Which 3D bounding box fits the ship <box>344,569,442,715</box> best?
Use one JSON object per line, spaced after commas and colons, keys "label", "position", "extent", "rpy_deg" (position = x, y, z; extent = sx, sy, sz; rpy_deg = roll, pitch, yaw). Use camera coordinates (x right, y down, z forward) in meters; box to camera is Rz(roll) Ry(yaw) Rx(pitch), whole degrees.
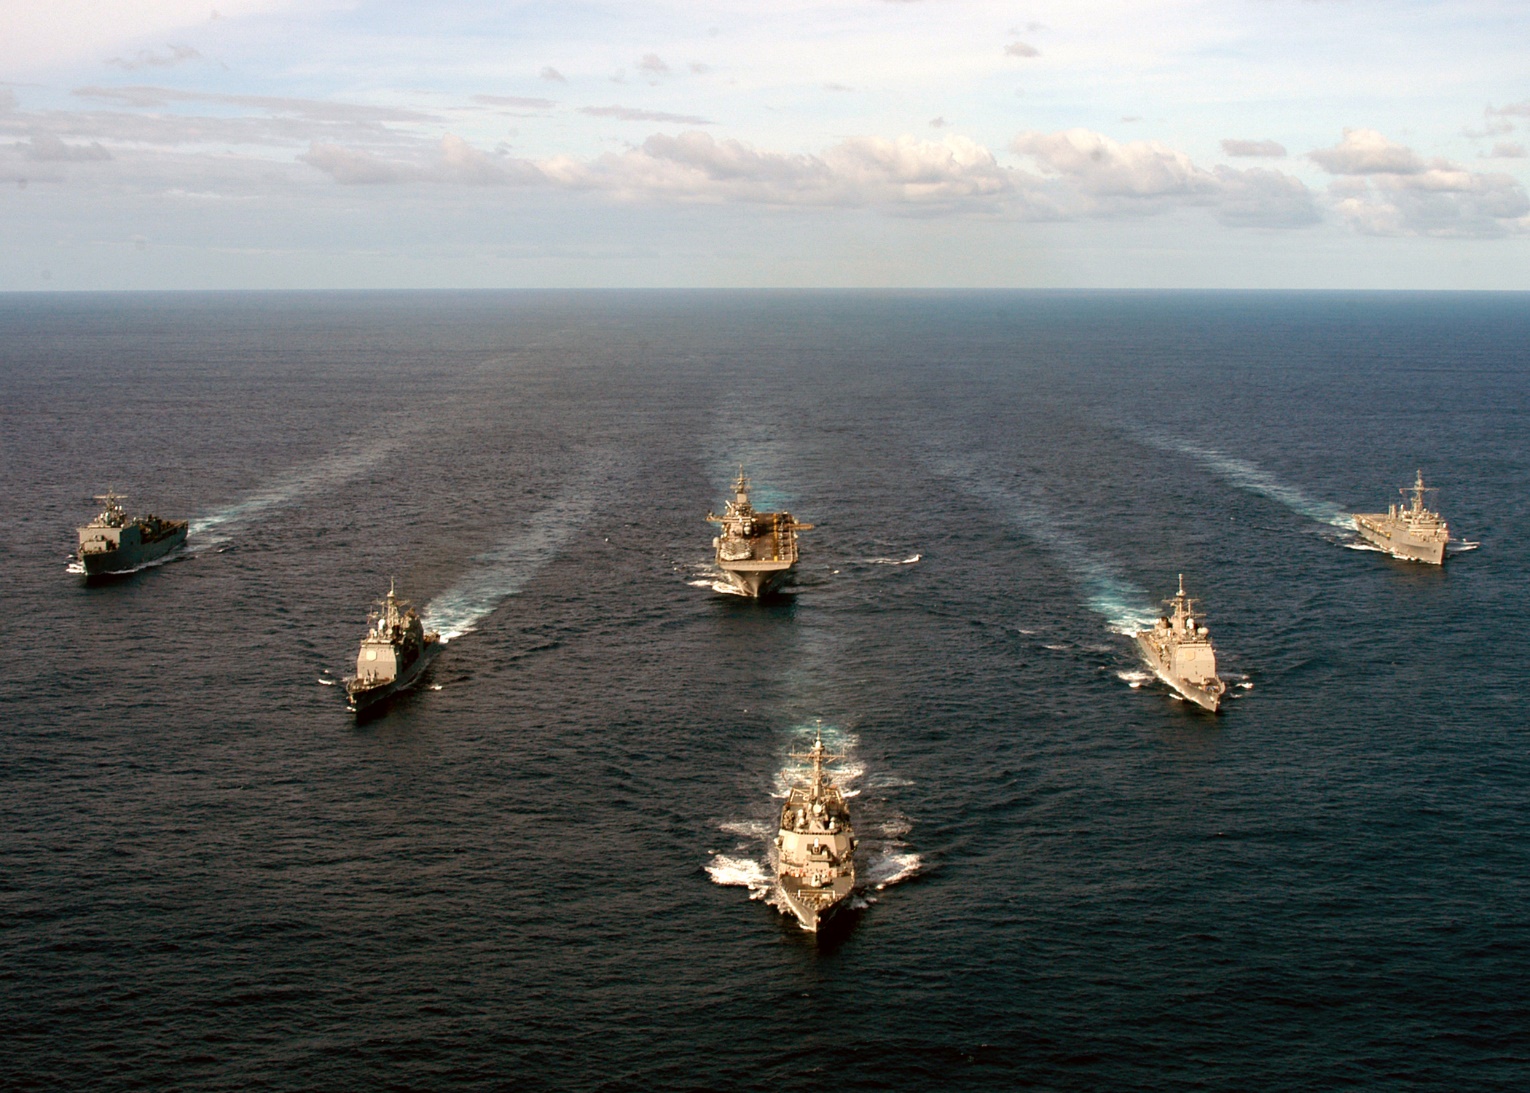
{"label": "ship", "position": [-39.729, 9.595, 159.899], "extent": [9.130, 9.471, 25.225], "rpy_deg": [11, 15, -3]}

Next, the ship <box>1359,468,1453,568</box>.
{"label": "ship", "position": [86.351, -4.104, 206.784], "extent": [10.893, 8.107, 26.919], "rpy_deg": [-7, 10, 3]}

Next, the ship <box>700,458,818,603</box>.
{"label": "ship", "position": [-0.844, 0.690, 190.268], "extent": [9.760, 7.564, 17.828], "rpy_deg": [-1, 27, 2]}

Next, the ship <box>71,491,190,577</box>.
{"label": "ship", "position": [-81.942, -2.032, 196.852], "extent": [9.959, 6.552, 23.104], "rpy_deg": [9, 11, 1]}
